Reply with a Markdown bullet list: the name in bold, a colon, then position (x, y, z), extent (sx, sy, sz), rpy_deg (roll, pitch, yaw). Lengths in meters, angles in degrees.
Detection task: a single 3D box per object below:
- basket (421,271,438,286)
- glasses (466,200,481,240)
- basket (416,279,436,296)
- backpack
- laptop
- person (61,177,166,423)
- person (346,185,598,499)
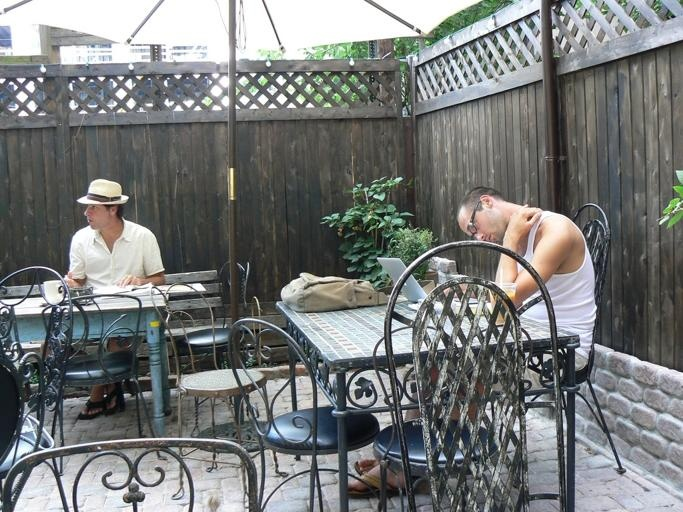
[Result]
- **basket**: position (0.834, 0.222, 6.905), extent (0.106, 0.130, 0.121), rpy_deg (-1, 4, 12)
- **glasses**: position (0.868, -0.229, 4.823), extent (0.045, 0.191, 0.165), rpy_deg (-4, -23, 12)
- **basket**: position (0.763, 0.277, 6.594), extent (0.161, 0.186, 0.180), rpy_deg (-1, 9, 1)
- **backpack**: position (-0.084, 0.265, 5.401), extent (0.747, 0.278, 0.826), rpy_deg (-1, 2, -13)
- **laptop**: position (0.561, 0.148, 4.952), extent (0.368, 0.409, 0.609), rpy_deg (-1, -3, -19)
- **person**: position (-2.067, 0.129, 6.473), extent (0.736, 2.559, 0.678), rpy_deg (0, 0, -15)
- **person**: position (1.092, 0.113, 5.047), extent (1.018, 2.751, 1.086), rpy_deg (0, 1, -8)
